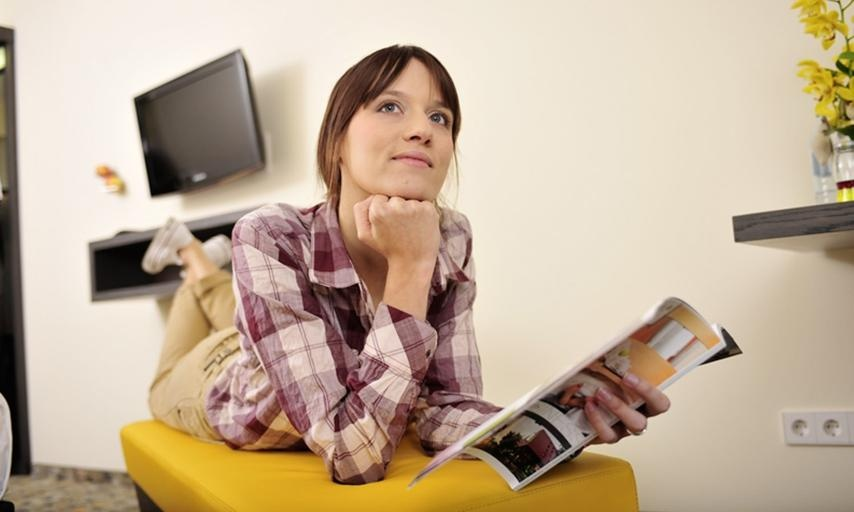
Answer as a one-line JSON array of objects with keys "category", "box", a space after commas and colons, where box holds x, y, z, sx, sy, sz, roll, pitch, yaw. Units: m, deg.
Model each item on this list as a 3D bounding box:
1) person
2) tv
[{"category": "person", "box": [-0.210, 0.230, 2.237, 0.890, 1.088, 2.188, 7, -15, -36]}, {"category": "tv", "box": [-1.250, -0.742, 3.219, 0.915, 0.599, 0.091, -15, 3, 29]}]
